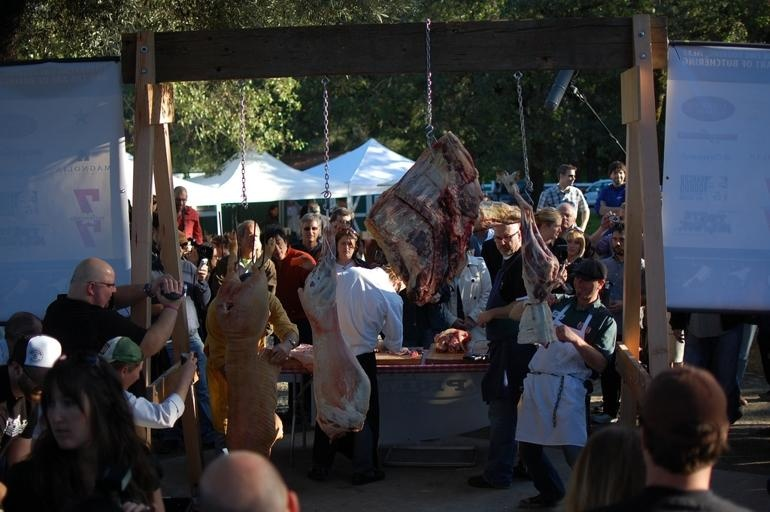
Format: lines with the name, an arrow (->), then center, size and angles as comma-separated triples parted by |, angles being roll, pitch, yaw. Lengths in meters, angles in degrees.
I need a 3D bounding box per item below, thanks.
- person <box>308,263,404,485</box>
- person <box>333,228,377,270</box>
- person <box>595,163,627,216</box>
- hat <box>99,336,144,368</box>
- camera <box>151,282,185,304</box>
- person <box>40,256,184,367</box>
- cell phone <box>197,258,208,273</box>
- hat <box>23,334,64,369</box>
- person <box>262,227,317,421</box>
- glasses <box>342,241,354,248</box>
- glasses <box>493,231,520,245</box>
person -> -0.284, 1.140, 10.385 | 0.900, 2.123, 0.572 | -1, 8, -3
person -> -0.366, -0.032, 10.367 | 0.655, 0.449, 0.304 | 0, -6, 13
person -> 3.026, -0.890, 14.136 | 0.368, 0.740, 1.713 | 1, 9, 12
hat -> -2.096, 0.743, 8.337 | 0.257, 0.178, 0.191 | 6, 3, 14
camera -> -1.901, 0.326, 9.146 | 0.198, 0.090, 0.178 | -4, -14, 15
person -> -2.427, 0.572, 9.241 | 1.252, 1.154, 1.013 | -2, 15, -36
cell phone -> -2.080, 0.107, 11.991 | 0.086, 0.177, 0.154 | 2, -8, -5
hat -> -2.674, 0.743, 8.176 | 0.171, 0.183, 0.288 | 13, -6, -27
person -> -1.029, 0.421, 11.405 | 0.691, 1.537, 0.440 | -4, -29, -10
glasses -> -0.366, -0.120, 10.250 | 0.112, 0.062, 0.023 | -3, 8, -11
glasses -> 1.128, -0.191, 9.827 | 0.242, 0.082, 0.157 | 2, 10, 19
